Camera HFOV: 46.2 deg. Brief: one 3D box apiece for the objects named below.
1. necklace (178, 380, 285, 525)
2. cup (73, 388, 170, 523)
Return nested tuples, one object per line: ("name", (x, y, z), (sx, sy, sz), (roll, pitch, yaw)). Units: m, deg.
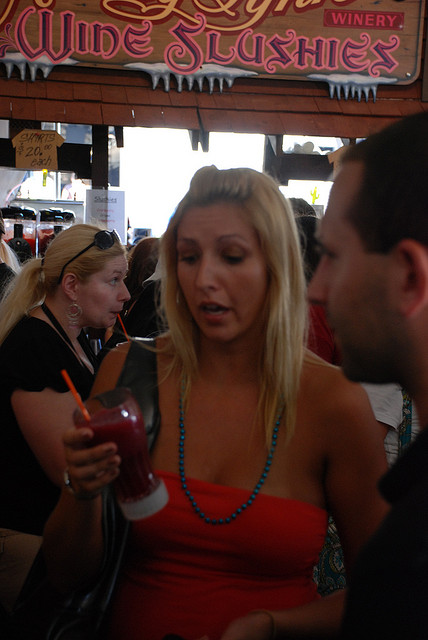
("necklace", (0.029, 0.315, 1.320), (0.272, 0.289, 0.400), (-4, 18, -13))
("cup", (-0.191, 0.284, 1.032), (0.179, 0.264, 0.150), (1, 7, 1))
